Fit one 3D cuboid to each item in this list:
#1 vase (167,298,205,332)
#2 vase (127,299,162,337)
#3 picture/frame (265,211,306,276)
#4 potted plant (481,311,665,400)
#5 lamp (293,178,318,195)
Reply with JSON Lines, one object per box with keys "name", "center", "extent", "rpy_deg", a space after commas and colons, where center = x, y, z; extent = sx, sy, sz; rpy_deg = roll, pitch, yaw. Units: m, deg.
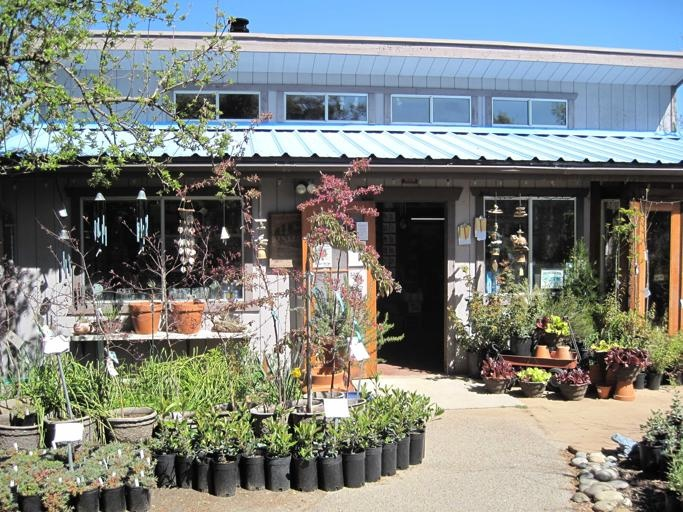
{"name": "vase", "center": [-2.062, 0.781, 9.945], "extent": [0.406, 0.348, 0.400], "rpy_deg": [3, -4, -40]}
{"name": "vase", "center": [-2.627, 0.814, 10.058], "extent": [0.477, 0.434, 0.515], "rpy_deg": [5, 9, 25]}
{"name": "picture/frame", "center": [-0.794, -0.195, 10.430], "extent": [0.789, 1.253, 0.128], "rpy_deg": [0, 3, -1]}
{"name": "potted plant", "center": [3.198, 1.383, 10.394], "extent": [1.868, 0.798, 1.121], "rpy_deg": [0, 5, 7]}
{"name": "lamp", "center": [-0.491, -0.972, 10.467], "extent": [0.284, 0.213, 0.406], "rpy_deg": [0, -1, -6]}
